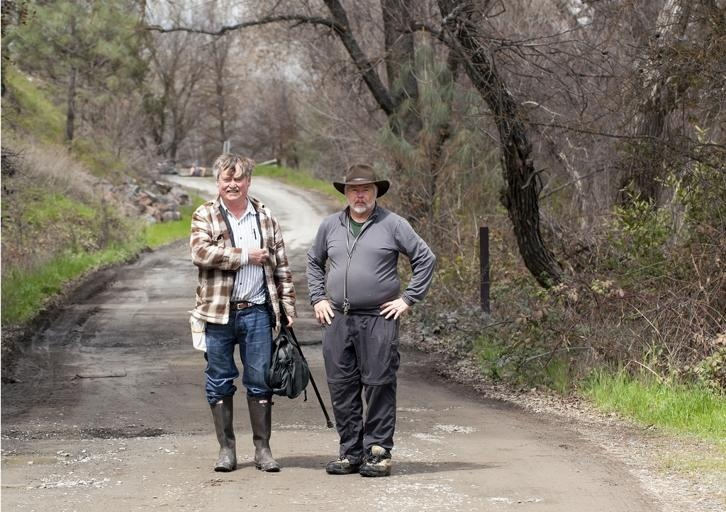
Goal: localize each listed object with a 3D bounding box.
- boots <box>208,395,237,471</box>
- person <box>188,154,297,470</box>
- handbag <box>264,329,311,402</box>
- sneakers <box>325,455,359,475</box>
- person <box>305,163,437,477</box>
[{"bbox_3d":[-1.567,1.938,9.920,0.272,0.767,0.408,-1,8,-10],"label":"boots"},{"bbox_3d":[-1.377,0.595,9.920,1.107,3.428,0.790,-1,8,-13],"label":"person"},{"bbox_3d":[-0.858,1.107,10.155,0.363,0.873,0.558,3,10,35],"label":"handbag"},{"bbox_3d":[-0.230,2.313,9.985,0.398,0.205,0.151,4,-1,-19],"label":"sneakers"},{"bbox_3d":[0.025,0.672,9.990,1.343,3.388,0.868,1,8,1],"label":"person"}]
